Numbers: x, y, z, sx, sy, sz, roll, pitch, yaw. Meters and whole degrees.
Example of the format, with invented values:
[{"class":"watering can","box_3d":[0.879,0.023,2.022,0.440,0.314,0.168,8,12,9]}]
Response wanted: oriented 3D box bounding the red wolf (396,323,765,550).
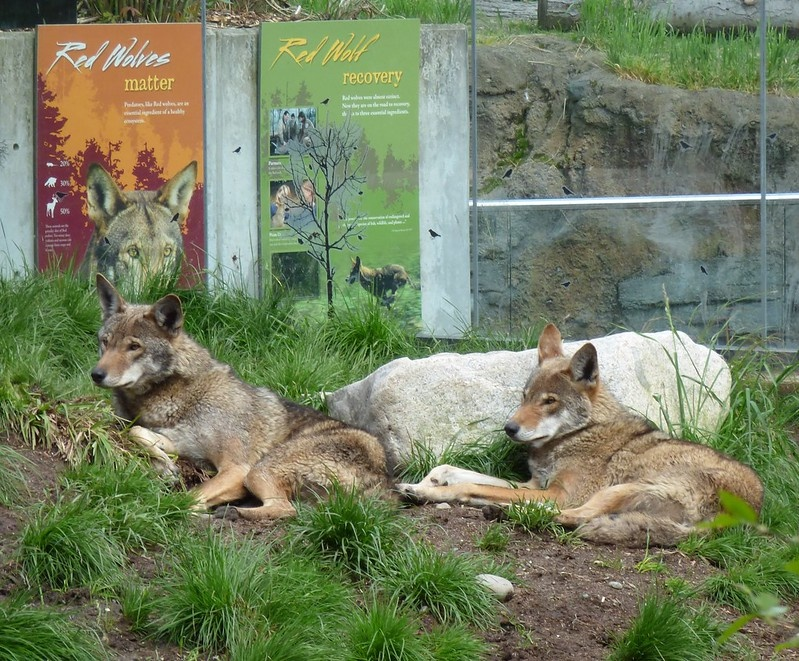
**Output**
[{"class":"red wolf","box_3d":[1.674,0.905,10.890,2.654,1.497,1.154,1,10,16]}]
